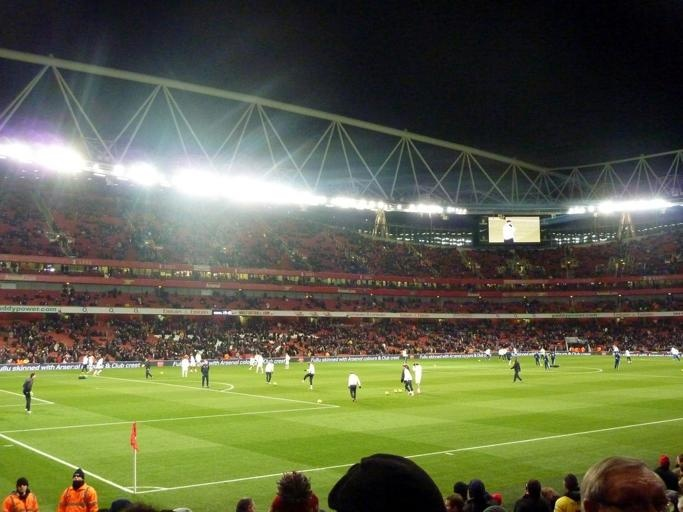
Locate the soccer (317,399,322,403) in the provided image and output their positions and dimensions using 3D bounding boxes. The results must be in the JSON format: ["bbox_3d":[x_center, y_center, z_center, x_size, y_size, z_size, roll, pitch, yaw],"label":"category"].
[{"bbox_3d":[-1.310,8.952,38.902,0.159,0.156,0.156,18,7,-26],"label":"soccer"}]

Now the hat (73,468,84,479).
[{"bbox_3d":[-8.063,6.726,19.512,0.252,0.294,0.467,6,-15,-26],"label":"hat"}]
